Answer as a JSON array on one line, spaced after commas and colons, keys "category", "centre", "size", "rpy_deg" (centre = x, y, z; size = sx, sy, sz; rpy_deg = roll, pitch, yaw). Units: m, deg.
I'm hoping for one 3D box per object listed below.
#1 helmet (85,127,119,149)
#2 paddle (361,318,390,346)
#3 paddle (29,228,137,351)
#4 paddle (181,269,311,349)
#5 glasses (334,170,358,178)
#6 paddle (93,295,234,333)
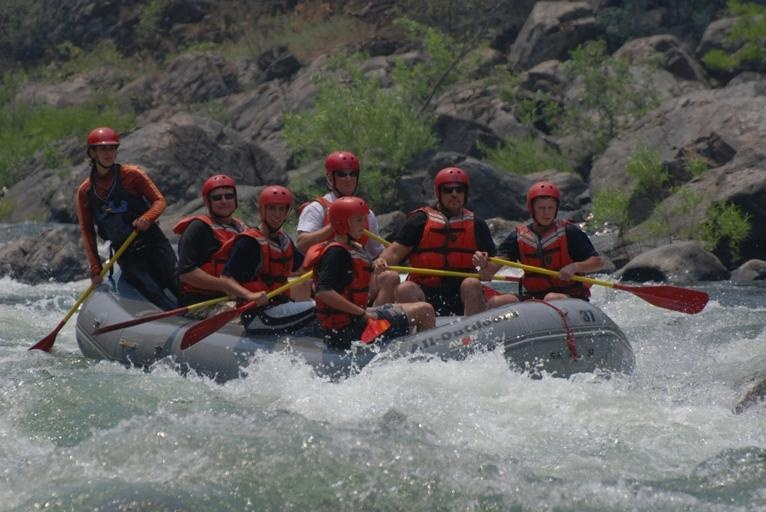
[{"category": "helmet", "centre": [-6.637, -2.805, 27.829], "size": [0.696, 0.304, 0.541], "rpy_deg": [-7, -7, 41]}, {"category": "paddle", "centre": [-0.179, 1.697, 26.565], "size": [0.749, 0.511, 0.351], "rpy_deg": [-18, 38, -8]}, {"category": "paddle", "centre": [-7.415, 0.939, 29.390], "size": [0.717, 0.282, 3.948], "rpy_deg": [42, 87, 9]}, {"category": "paddle", "centre": [-3.016, 1.067, 28.386], "size": [0.335, 0.629, 6.112], "rpy_deg": [22, 23, 17]}, {"category": "glasses", "centre": [-0.865, -1.897, 27.608], "size": [0.534, 0.211, 0.118], "rpy_deg": [-12, 38, -1]}, {"category": "paddle", "centre": [-5.026, 1.376, 27.276], "size": [3.552, 0.342, 0.193], "rpy_deg": [-12, 2, 7]}]
